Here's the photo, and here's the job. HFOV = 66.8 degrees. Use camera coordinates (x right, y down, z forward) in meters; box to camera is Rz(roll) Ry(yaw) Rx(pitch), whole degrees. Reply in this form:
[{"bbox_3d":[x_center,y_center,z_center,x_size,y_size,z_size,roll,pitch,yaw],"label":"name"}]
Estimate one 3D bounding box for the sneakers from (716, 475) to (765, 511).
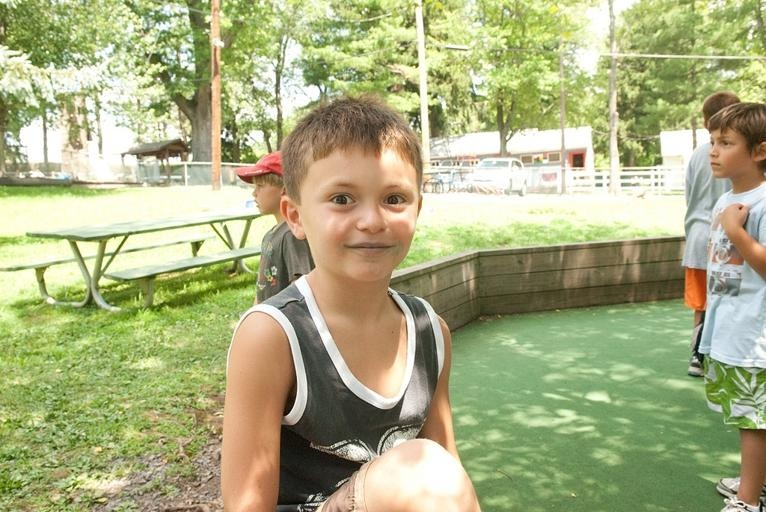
[{"bbox_3d":[2.244,1.499,3.612,0.265,0.137,0.463,2,8,31],"label":"sneakers"}]
